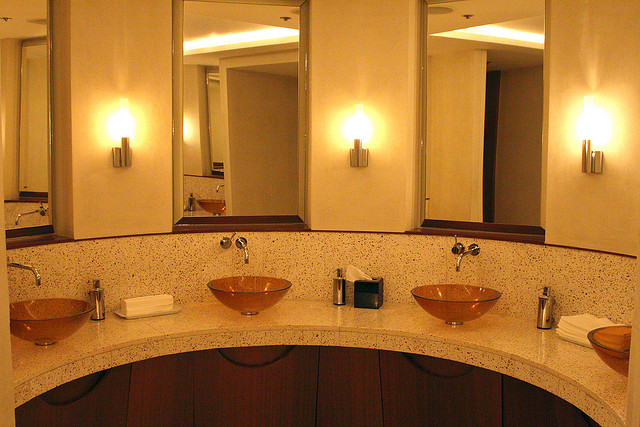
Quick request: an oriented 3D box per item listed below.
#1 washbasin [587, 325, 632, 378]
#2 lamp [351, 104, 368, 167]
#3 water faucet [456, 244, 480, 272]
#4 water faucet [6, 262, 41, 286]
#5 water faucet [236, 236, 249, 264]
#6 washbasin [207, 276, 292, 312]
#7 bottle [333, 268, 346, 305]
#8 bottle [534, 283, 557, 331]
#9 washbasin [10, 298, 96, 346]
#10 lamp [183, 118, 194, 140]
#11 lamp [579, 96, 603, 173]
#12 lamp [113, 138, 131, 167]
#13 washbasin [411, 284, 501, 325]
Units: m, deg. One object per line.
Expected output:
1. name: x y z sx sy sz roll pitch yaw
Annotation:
1. washbasin: 1.478 0.699 2.639 0.183 0.200 0.352 3 7 31
2. lamp: 0.300 -0.576 3.803 0.129 0.454 0.068 0 7 5
3. water faucet: 1.005 0.303 3.515 0.133 0.151 0.307 2 6 23
4. water faucet: -1.673 0.340 2.917 0.136 0.115 0.321 -4 7 -33
5. water faucet: -0.553 0.257 3.685 0.089 0.194 0.069 -7 13 -13
6. washbasin: -0.485 0.512 3.575 0.664 0.209 0.611 0 1 -3
7. bottle: 0.147 0.537 3.790 0.096 0.263 0.070 0 7 -1
8. bottle: 1.463 0.598 3.323 0.133 0.282 0.127 0 7 0
9. washbasin: -1.541 0.594 3.035 0.425 0.249 0.478 -4 12 -13
10. lamp: -0.956 -0.613 3.778 0.110 0.119 0.042 7 14 6
11. lamp: 1.668 -0.489 3.176 0.129 0.467 0.132 -12 13 -34
12. lamp: -1.348 -0.415 3.511 0.116 0.195 0.038 -3 7 -26
13. washbasin: 0.898 0.619 3.409 0.563 0.213 0.446 2 6 17
